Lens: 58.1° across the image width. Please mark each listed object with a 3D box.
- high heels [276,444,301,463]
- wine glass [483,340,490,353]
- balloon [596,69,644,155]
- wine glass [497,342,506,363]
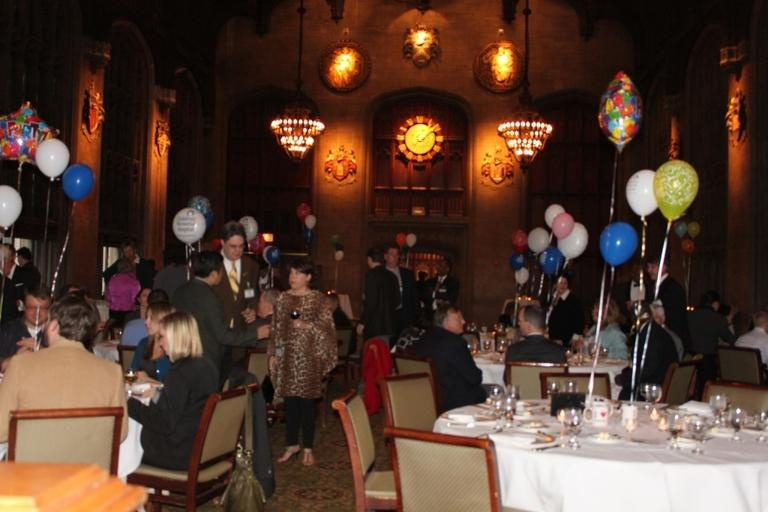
[{"bbox_3d":[-1.053,2.107,7.352,0.100,0.172,0.308,-7,-8,39],"label":"high heels"},{"bbox_3d":[1.370,1.235,9.312,0.080,0.154,0.149,1,-9,2],"label":"wine glass"},{"bbox_3d":[2.491,-1.584,7.313,0.402,0.958,0.710,-1,-7,20],"label":"balloon"},{"bbox_3d":[1.474,1.226,8.711,0.117,0.216,0.126,0,-9,-1],"label":"wine glass"}]
